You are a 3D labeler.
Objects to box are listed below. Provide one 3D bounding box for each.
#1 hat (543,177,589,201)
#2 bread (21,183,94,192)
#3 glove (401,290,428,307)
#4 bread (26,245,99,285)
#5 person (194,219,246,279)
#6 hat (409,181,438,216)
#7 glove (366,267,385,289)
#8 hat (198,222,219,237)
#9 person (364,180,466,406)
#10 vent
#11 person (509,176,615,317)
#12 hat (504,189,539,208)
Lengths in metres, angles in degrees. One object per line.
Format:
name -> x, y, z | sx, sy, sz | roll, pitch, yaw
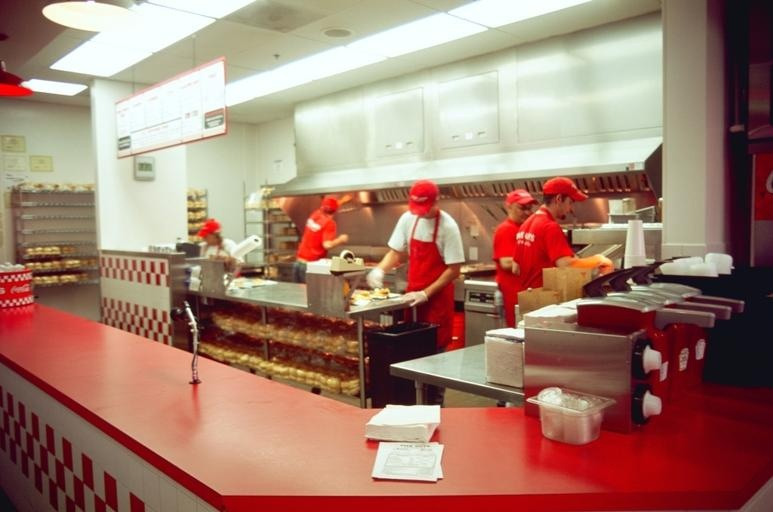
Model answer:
hat -> 1.463, -0.520, 4.528 | 0.382, 0.176, 0.217 | -1, 12, 2
bread -> -4.769, -0.964, 8.082 | 0.934, 0.105, 0.216 | -7, 5, -26
glove -> 0.213, 0.344, 4.544 | 0.186, 0.074, 0.126 | -4, 18, -31
bread -> -4.762, 0.115, 8.219 | 0.728, 0.295, 0.714 | 3, 0, -43
person -> -1.818, -0.112, 6.069 | 0.345, 0.543, 0.979 | -7, 6, -20
hat -> 0.293, -0.485, 4.635 | 0.228, 0.286, 0.152 | 9, -36, 12
glove -> -0.108, 0.189, 4.893 | 0.153, 0.161, 0.191 | 5, 14, 38
hat -> -1.965, -0.300, 6.203 | 0.217, 0.168, 0.168 | -6, 5, -16
person -> 0.240, 0.093, 4.732 | 0.509, 1.422, 0.731 | -11, 7, -44
vent -> 0.865, -0.676, 6.912 | 4.395, 1.051, 1.008 | -1, 10, 20
person -> 1.324, -0.151, 4.382 | 0.471, 0.915, 1.033 | -7, 5, -9
hat -> 1.201, -0.525, 5.206 | 0.179, 0.109, 0.238 | 0, 3, -29
